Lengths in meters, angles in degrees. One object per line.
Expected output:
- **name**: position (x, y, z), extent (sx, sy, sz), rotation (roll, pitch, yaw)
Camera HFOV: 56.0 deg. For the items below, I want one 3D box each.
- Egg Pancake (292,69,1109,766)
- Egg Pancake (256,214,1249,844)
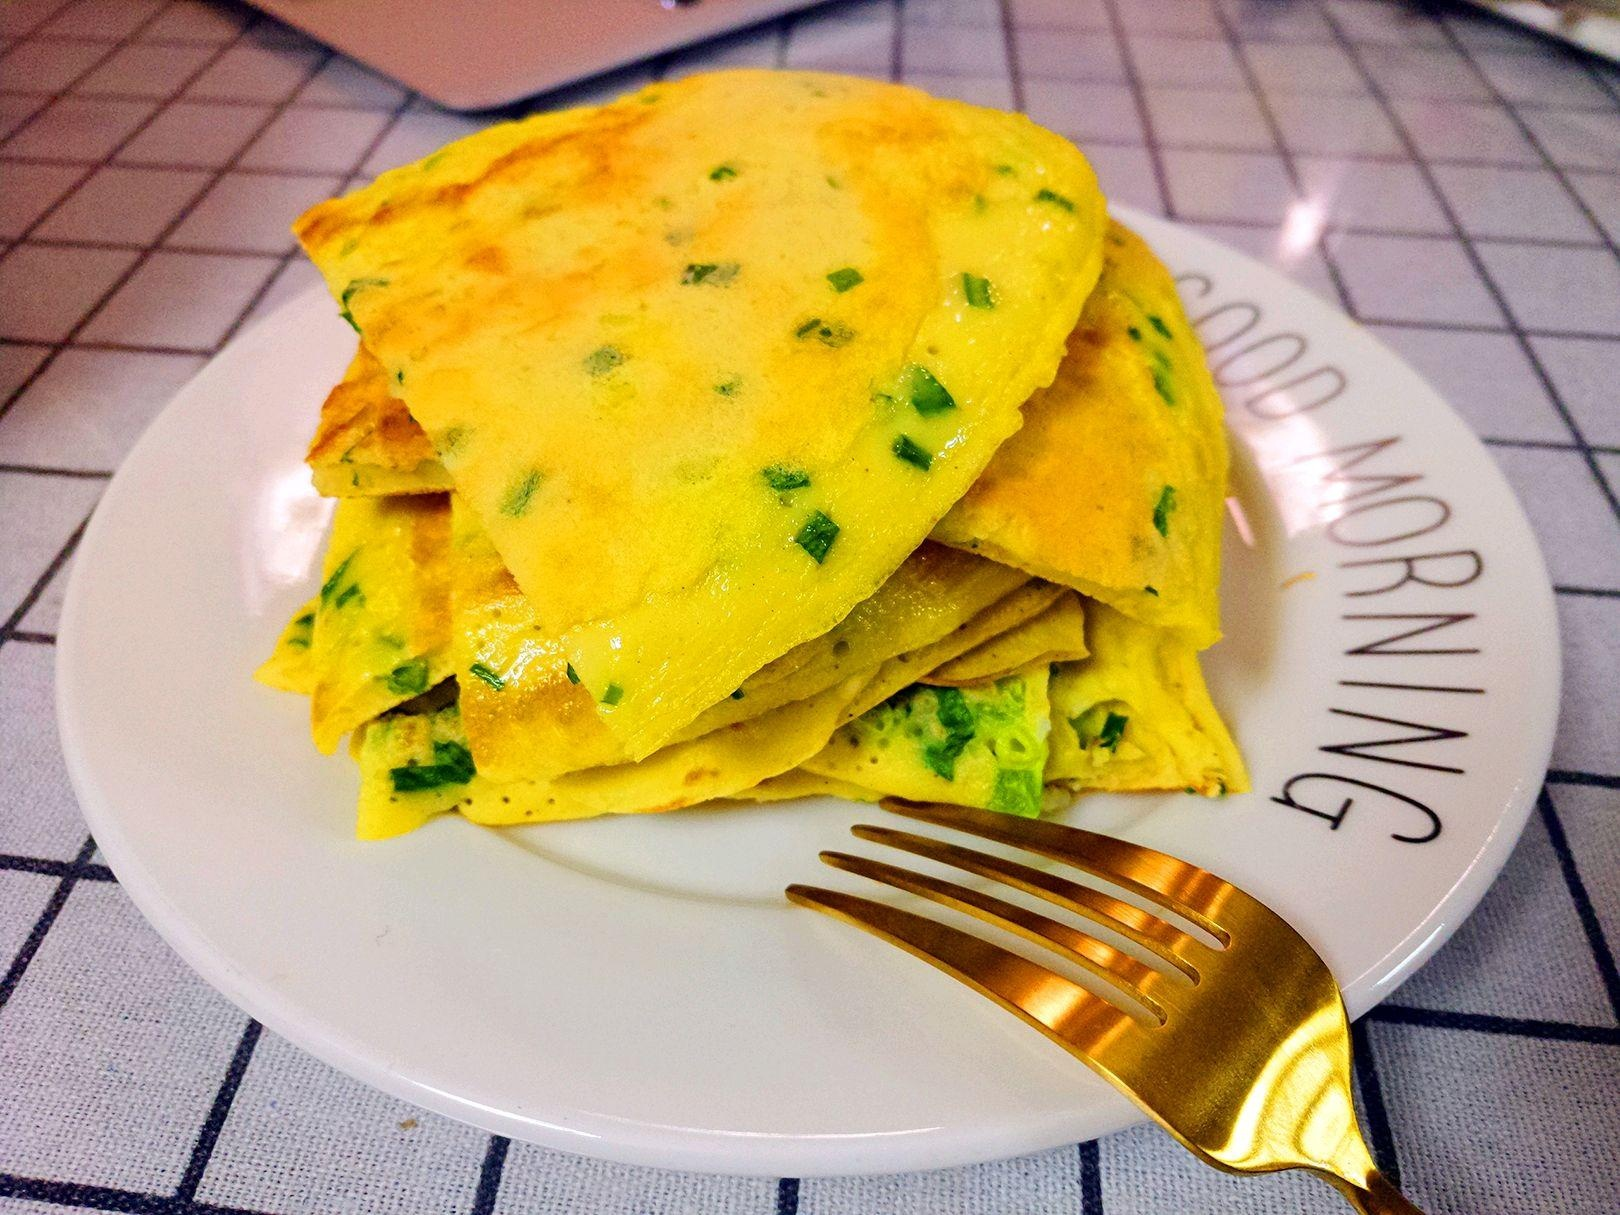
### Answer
- **Egg Pancake**: position (-0.068, -0.331, 1.610), extent (0.795, 0.183, 0.759), rotation (-31, 71, -19)
- **Egg Pancake**: position (-0.045, -0.039, 1.439), extent (0.778, 0.207, 0.672), rotation (-1, 52, -1)
